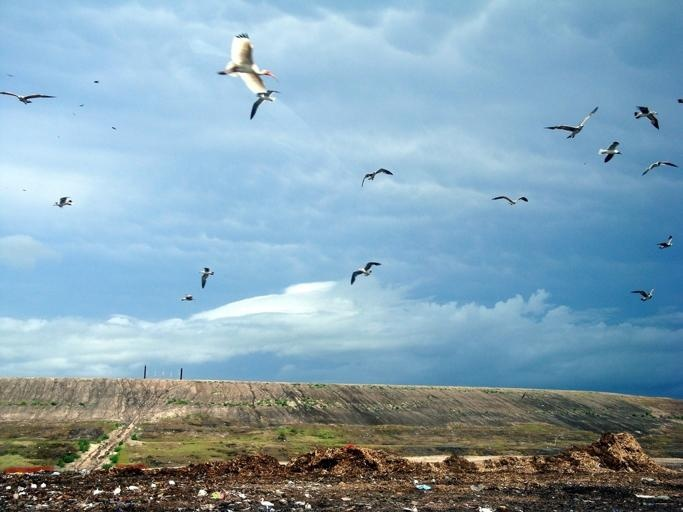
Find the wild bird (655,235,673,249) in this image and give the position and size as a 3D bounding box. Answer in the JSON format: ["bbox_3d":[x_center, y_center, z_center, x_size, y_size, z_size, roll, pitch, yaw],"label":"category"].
[{"bbox_3d":[12.193,-0.450,21.987,0.484,0.407,1.322,-1,12,28],"label":"wild bird"}]
